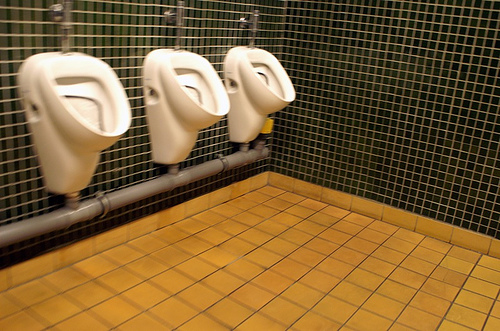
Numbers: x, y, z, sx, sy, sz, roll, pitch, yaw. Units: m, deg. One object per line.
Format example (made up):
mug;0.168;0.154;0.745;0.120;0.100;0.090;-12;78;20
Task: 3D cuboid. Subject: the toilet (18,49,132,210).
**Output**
toilet;-1.032;-0.247;2.156;0.549;0.820;0.526;-9;33;-26

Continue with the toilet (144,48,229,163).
toilet;-0.480;-0.434;2.681;0.601;0.811;0.502;-4;31;-18

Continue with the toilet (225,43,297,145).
toilet;0.068;-0.625;3.262;0.650;0.918;0.488;9;30;4

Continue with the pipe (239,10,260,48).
pipe;-0.022;-1.236;3.241;0.170;0.322;0.228;6;29;-2
